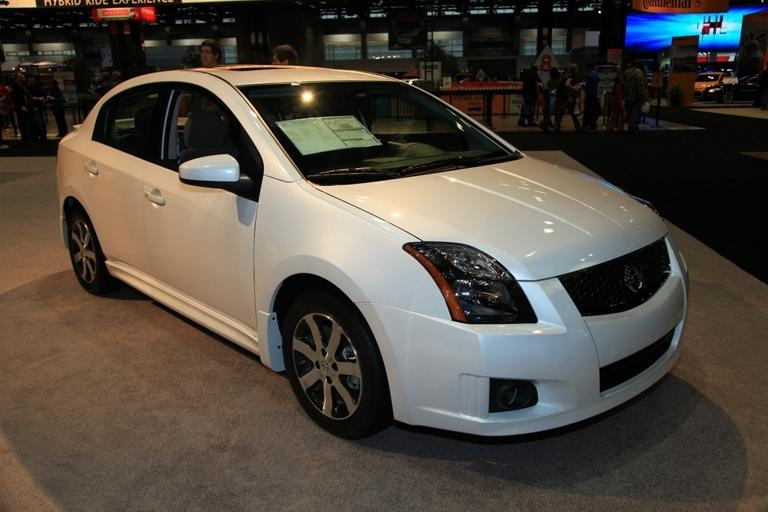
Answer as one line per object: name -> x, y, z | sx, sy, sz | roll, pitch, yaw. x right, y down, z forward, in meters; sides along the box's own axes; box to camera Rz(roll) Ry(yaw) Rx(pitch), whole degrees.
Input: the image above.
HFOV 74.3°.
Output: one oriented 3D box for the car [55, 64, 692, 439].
car -> -0.406, -0.305, 3.622 | 4.086, 1.533, 2.292 | 21, 29, 38
